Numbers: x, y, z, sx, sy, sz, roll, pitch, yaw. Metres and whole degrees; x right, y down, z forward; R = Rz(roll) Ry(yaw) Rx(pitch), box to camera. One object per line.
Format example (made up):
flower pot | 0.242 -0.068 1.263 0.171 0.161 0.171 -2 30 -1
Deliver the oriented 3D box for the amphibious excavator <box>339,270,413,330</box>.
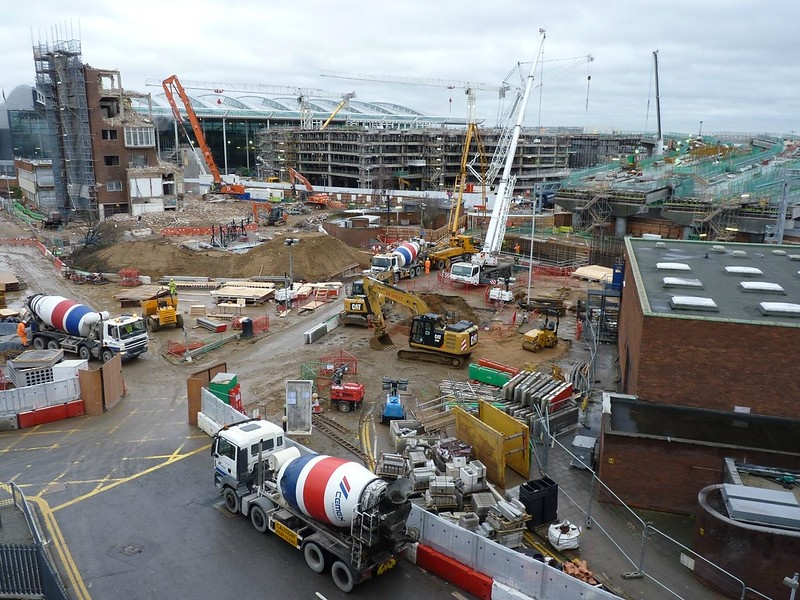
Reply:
amphibious excavator | -3.037 -0.390 49.554 2.406 3.450 7.012 5 12 7

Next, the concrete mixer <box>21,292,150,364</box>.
concrete mixer | -21.006 1.445 39.545 10.311 3.975 3.275 11 19 16

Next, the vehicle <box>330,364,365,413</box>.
vehicle | -2.903 4.831 33.161 2.267 2.417 2.082 0 12 4

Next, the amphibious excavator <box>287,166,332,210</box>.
amphibious excavator | -16.841 -20.623 109.896 10.174 6.797 3.988 14 22 41

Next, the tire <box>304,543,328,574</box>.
tire | -2.839 8.774 20.456 0.372 0.985 1.069 -18 25 -42

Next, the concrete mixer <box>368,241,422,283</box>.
concrete mixer | -0.158 -3.916 60.370 2.736 3.239 7.580 13 18 25

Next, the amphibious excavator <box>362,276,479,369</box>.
amphibious excavator | 0.814 0.721 41.617 9.865 5.776 4.116 11 25 24

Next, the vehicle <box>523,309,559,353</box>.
vehicle | 9.567 2.191 41.251 2.614 2.072 1.543 -16 26 -35

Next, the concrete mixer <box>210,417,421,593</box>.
concrete mixer | -2.391 6.854 22.110 9.771 3.746 3.411 15 21 34

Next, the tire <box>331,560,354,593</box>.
tire | -1.854 9.033 19.725 0.271 1.152 1.014 -14 20 -43

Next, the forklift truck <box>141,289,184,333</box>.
forklift truck | -18.426 0.849 46.115 2.380 2.124 4.526 -11 26 -36

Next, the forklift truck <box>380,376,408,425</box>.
forklift truck | -0.331 5.157 31.812 1.592 1.690 2.929 2 17 -3
